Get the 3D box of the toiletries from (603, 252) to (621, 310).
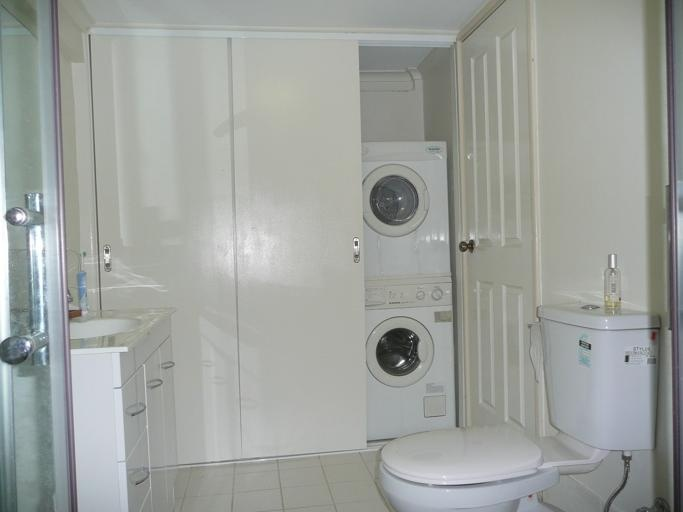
[{"bbox_3d":[1.102,0.099,2.242,0.066,0.214,0.174,2,8,26],"label":"toiletries"}]
